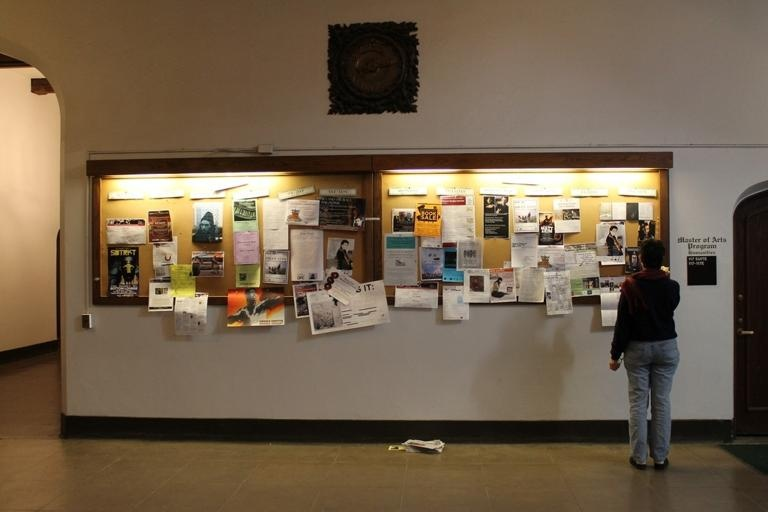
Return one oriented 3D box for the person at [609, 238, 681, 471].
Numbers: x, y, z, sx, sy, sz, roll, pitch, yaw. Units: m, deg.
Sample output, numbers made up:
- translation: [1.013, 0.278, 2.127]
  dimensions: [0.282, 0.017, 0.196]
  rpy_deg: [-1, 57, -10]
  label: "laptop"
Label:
- translation: [2.627, 0.992, 6.177]
  dimensions: [0.643, 2.284, 0.238]
  rpy_deg: [0, 4, 12]
  label: "person"
